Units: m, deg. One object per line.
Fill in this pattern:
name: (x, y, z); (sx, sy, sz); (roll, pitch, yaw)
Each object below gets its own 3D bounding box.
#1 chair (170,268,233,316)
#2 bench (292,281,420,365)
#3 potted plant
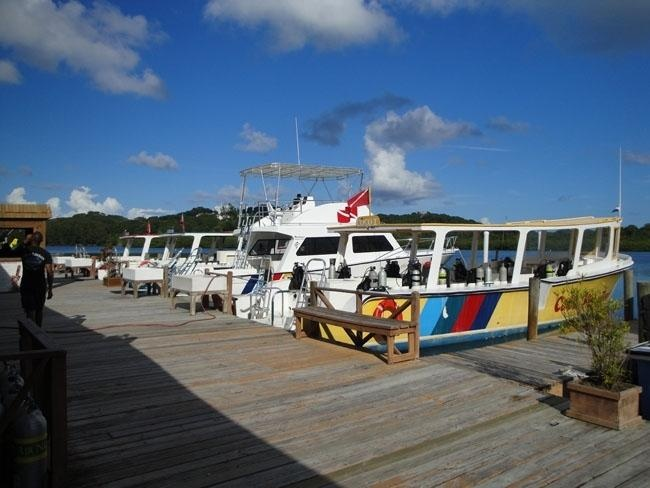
chair: (-3.486, 1.240, 11.628); (1.535, 1.037, 1.105); (-1, 10, -7)
bench: (0.413, 1.358, 7.577); (0.702, 1.093, 2.729); (2, -3, -38)
potted plant: (3.180, 1.232, 4.810); (0.779, 1.599, 0.903); (1, 1, 29)
